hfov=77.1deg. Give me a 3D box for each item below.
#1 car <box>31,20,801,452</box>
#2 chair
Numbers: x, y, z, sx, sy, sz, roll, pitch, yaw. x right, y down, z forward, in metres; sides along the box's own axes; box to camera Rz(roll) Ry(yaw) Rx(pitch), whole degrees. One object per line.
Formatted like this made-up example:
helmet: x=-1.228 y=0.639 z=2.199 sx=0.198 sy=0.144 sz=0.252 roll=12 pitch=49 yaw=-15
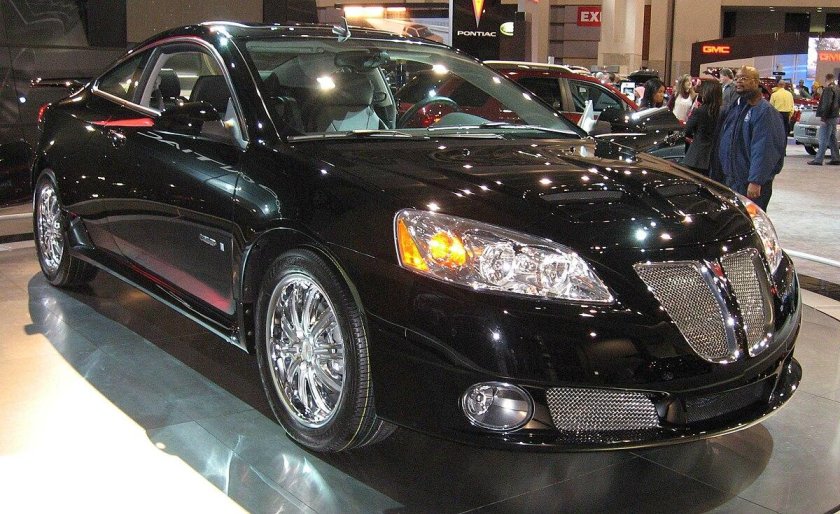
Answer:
car: x=-0.741 y=-0.198 z=3.673 sx=2.474 sy=1.607 sz=5.115 roll=-8 pitch=16 yaw=-43
chair: x=-0.868 y=-1.069 z=3.603 sx=1.312 sy=0.570 sz=0.890 roll=6 pitch=11 yaw=40
